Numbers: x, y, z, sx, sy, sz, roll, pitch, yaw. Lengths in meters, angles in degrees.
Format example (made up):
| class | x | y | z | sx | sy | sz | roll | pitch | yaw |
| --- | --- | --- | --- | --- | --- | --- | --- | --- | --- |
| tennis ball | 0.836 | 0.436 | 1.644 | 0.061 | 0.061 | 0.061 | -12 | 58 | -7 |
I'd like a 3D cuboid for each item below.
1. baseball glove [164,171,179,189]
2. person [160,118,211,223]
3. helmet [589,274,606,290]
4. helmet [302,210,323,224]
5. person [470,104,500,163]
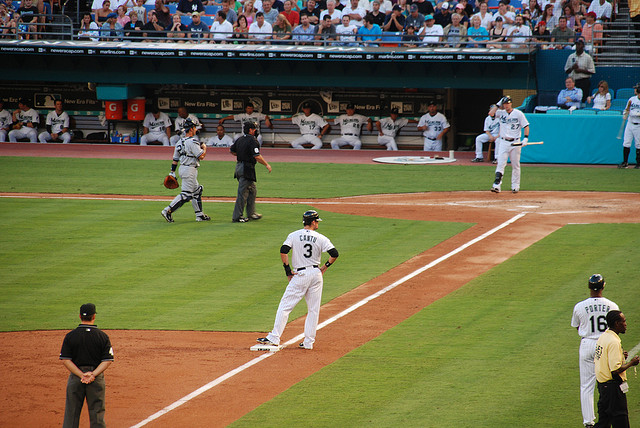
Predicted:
| class | x | y | z | sx | sy | sz | roll | pitch | yaw |
| --- | --- | --- | --- | --- | --- | --- | --- | --- | --- |
| baseball glove | -4.342 | -0.979 | 32.566 | 0.372 | 0.517 | 0.557 | -1 | 9 | -8 |
| person | -3.916 | -1.170 | 32.414 | 1.696 | 2.711 | 1.161 | 0 | 1 | 6 |
| helmet | 5.785 | 1.418 | 23.520 | 0.288 | 0.295 | 0.432 | 2 | 9 | 12 |
| helmet | -0.154 | 0.092 | 25.598 | 0.442 | 0.183 | 0.273 | -5 | 13 | -22 |
| person | 6.099 | -2.854 | 40.182 | 1.262 | 1.962 | 1.365 | 3 | 16 | 6 |
